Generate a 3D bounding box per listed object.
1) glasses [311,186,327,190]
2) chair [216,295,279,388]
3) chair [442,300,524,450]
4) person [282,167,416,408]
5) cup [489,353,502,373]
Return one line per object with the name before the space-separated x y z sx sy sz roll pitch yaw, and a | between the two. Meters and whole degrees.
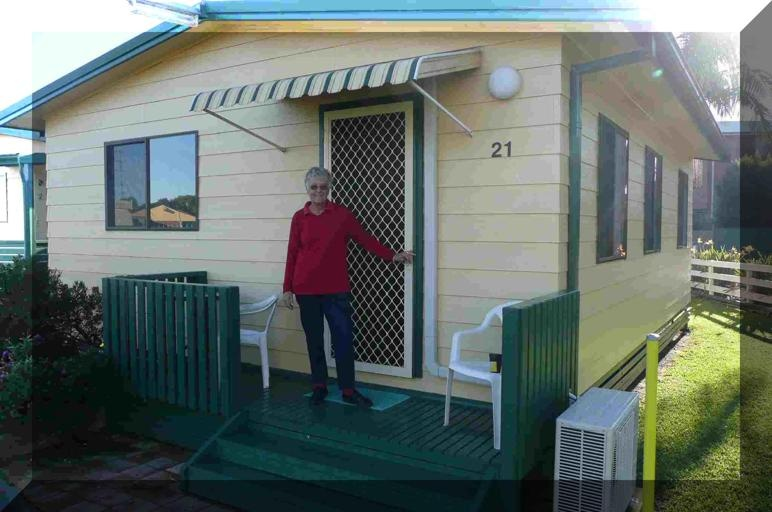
glasses | -0.721 -0.728 5.960 0.171 0.057 0.045 -2 3 -8
chair | -1.770 1.092 6.894 0.995 1.179 0.879 1 -9 -7
chair | 1.007 1.140 5.523 0.849 1.258 0.832 0 1 38
person | -0.598 0.332 6.142 1.119 2.608 0.410 -1 3 17
cup | 1.037 1.015 5.243 0.101 0.176 0.127 -1 3 13
